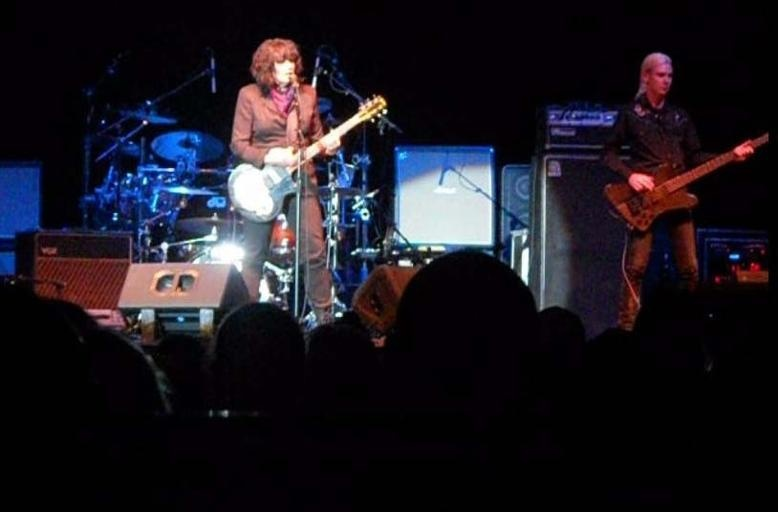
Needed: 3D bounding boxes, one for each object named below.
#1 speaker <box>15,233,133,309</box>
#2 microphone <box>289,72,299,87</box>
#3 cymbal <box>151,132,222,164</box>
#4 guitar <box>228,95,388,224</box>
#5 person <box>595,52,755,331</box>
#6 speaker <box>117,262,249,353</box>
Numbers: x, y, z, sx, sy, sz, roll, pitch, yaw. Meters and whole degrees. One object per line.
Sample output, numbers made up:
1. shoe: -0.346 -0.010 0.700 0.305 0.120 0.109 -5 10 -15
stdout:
1. speaker: -2.660 0.073 6.975 0.801 0.848 0.474 1 24 -20
2. microphone: -0.657 -1.232 5.574 0.059 0.092 0.026 -3 -2 13
3. cymbal: -2.142 -1.174 8.474 0.762 0.364 0.506 -1 15 3
4. guitar: -0.528 -0.734 5.968 0.666 0.249 1.826 5 39 31
5. person: 2.274 -0.345 6.276 0.972 2.523 0.754 -2 26 15
6. speaker: -1.444 0.281 5.501 0.672 0.446 0.634 -1 7 -2
